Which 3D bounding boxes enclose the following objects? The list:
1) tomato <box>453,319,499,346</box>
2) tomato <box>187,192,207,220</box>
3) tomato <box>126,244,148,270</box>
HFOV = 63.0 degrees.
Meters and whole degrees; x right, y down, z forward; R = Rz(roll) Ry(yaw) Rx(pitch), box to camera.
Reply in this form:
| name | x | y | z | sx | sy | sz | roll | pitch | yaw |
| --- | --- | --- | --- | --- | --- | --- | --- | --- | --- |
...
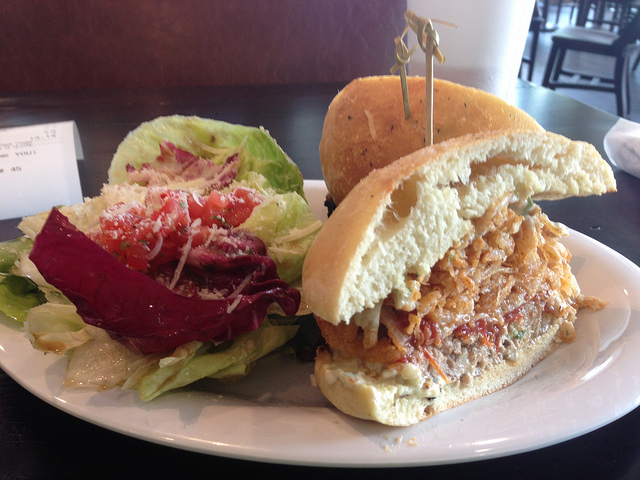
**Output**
| name | x | y | z | sx | sy | sz | roll | pitch | yaw |
| --- | --- | --- | --- | --- | --- | --- | --- | --- | --- |
| tomato | 0.450 | 0.258 | 1.508 | 0.088 | 0.027 | 0.085 | -15 | 30 | -40 |
| tomato | -0.394 | -0.121 | 1.702 | 0.070 | 0.081 | 0.080 | 0 | 36 | -12 |
| tomato | -0.542 | 0.047 | 1.546 | 0.062 | 0.040 | 0.065 | -26 | 68 | -14 |
